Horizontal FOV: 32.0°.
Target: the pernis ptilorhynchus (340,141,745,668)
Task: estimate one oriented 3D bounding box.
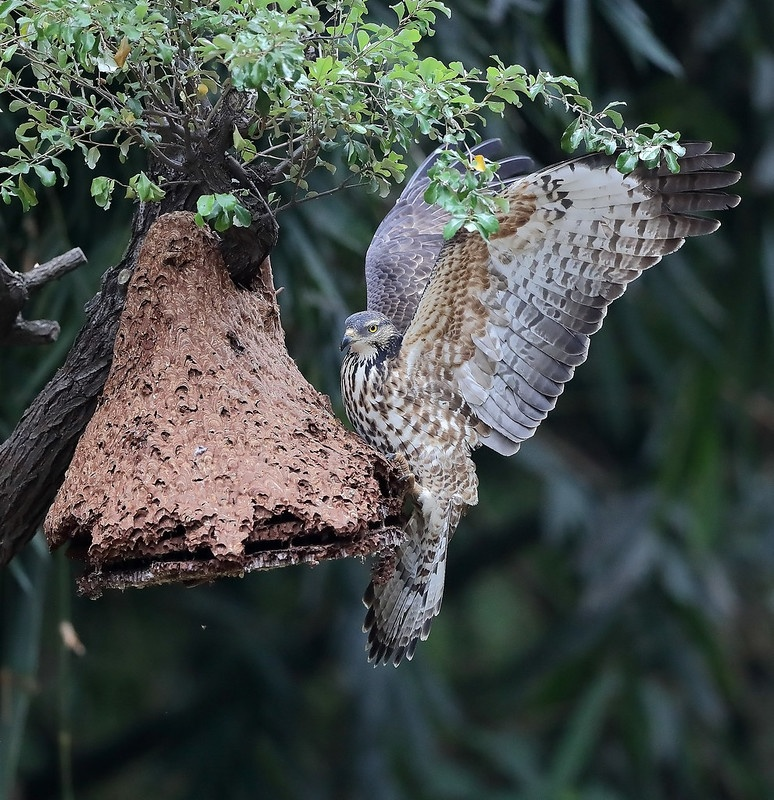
[{"bbox_3d":[0.317,-0.051,3.856,0.845,1.574,0.577,-12,41,-28],"label":"pernis ptilorhynchus"}]

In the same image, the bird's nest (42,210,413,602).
[{"bbox_3d":[-0.434,-0.045,3.619,0.896,0.918,0.835,-12,5,-35],"label":"bird's nest"}]
